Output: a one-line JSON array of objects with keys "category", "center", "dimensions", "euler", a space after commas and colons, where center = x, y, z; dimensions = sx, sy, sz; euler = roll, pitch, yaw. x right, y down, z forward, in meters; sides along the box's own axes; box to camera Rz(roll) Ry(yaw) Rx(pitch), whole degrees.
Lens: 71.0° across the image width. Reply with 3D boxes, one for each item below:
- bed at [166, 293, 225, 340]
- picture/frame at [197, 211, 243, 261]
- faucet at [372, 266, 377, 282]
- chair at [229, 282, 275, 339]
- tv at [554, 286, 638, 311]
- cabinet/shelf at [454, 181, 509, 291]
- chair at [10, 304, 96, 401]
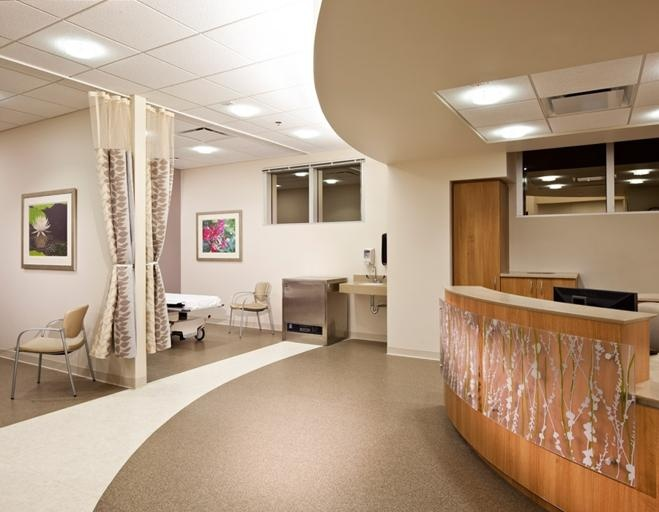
[{"category": "bed", "center": [-2.391, 0.993, 8.006], "dimensions": [1.073, 0.578, 0.773], "euler": [3, 5, 37]}, {"category": "picture/frame", "center": [-2.245, -0.428, 9.584], "dimensions": [0.936, 0.981, 0.038], "euler": [1, 3, 29]}, {"category": "faucet", "center": [0.766, 0.291, 7.915], "dimensions": [0.070, 0.261, 0.123], "euler": [-1, 6, -1]}, {"category": "chair", "center": [-1.492, 0.958, 8.770], "dimensions": [0.731, 0.965, 0.693], "euler": [4, -1, -23]}, {"category": "tv", "center": [2.161, 0.333, 3.848], "dimensions": [0.269, 0.150, 0.690], "euler": [-3, 6, -22]}, {"category": "cabinet/shelf", "center": [2.107, -0.331, 6.667], "dimensions": [0.697, 1.534, 0.235], "euler": [3, 7, 30]}, {"category": "chair", "center": [-3.381, 1.138, 5.706], "dimensions": [0.910, 1.054, 0.882], "euler": [1, 2, -34]}]
